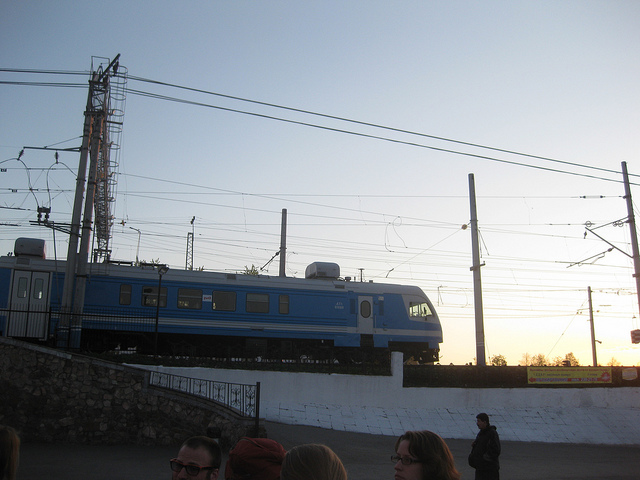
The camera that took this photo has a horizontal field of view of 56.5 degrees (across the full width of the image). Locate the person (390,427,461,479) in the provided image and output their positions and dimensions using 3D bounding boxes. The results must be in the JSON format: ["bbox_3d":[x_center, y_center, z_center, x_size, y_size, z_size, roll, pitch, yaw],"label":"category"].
[{"bbox_3d":[1.361,2.820,7.928,0.770,0.687,0.564,2,-15,7],"label":"person"}]
